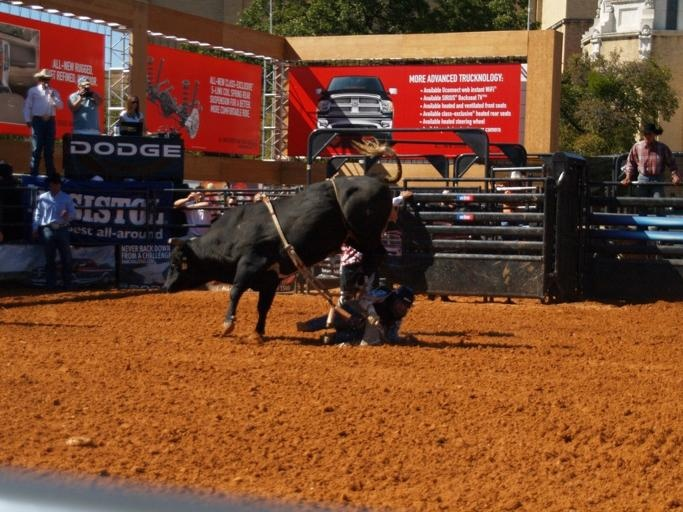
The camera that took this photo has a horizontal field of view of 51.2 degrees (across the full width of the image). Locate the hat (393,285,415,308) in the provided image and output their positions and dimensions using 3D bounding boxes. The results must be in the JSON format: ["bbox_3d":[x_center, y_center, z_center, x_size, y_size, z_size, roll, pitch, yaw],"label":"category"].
[{"bbox_3d":[0.758,0.481,8.478,0.213,0.234,0.294,1,10,3],"label":"hat"}]

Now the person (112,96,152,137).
[{"bbox_3d":[-4.626,-3.068,15.546,0.560,0.887,1.691,-3,10,-17],"label":"person"}]

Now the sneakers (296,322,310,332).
[{"bbox_3d":[-0.475,0.902,9.086,0.166,0.091,0.131,1,-6,12],"label":"sneakers"}]

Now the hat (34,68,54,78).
[{"bbox_3d":[-6.372,-3.877,15.247,0.223,0.227,0.627,-5,11,-26],"label":"hat"}]

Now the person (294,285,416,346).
[{"bbox_3d":[0.244,0.734,8.651,1.299,0.441,0.759,-9,-17,35],"label":"person"}]

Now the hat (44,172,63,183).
[{"bbox_3d":[-5.538,-1.482,13.654,0.400,0.128,0.368,-2,-2,42],"label":"hat"}]

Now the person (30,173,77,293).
[{"bbox_3d":[-5.577,-0.496,13.827,0.758,2.189,0.457,1,11,8],"label":"person"}]

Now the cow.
[{"bbox_3d":[-0.744,-0.005,8.782,2.726,1.963,0.682,1,11,6],"label":"cow"}]

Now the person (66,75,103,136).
[{"bbox_3d":[-5.620,-3.308,15.668,0.653,1.227,1.179,-4,11,-19],"label":"person"}]
